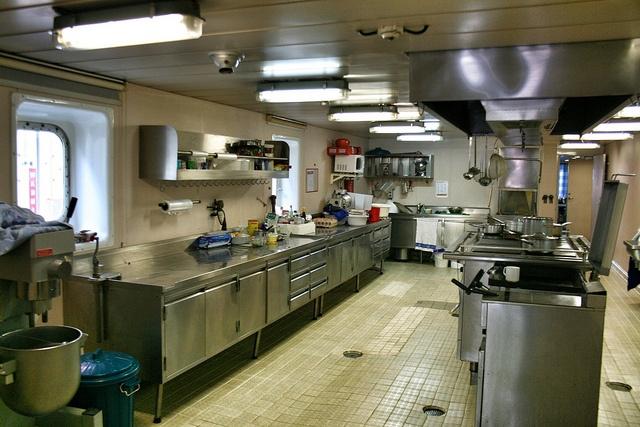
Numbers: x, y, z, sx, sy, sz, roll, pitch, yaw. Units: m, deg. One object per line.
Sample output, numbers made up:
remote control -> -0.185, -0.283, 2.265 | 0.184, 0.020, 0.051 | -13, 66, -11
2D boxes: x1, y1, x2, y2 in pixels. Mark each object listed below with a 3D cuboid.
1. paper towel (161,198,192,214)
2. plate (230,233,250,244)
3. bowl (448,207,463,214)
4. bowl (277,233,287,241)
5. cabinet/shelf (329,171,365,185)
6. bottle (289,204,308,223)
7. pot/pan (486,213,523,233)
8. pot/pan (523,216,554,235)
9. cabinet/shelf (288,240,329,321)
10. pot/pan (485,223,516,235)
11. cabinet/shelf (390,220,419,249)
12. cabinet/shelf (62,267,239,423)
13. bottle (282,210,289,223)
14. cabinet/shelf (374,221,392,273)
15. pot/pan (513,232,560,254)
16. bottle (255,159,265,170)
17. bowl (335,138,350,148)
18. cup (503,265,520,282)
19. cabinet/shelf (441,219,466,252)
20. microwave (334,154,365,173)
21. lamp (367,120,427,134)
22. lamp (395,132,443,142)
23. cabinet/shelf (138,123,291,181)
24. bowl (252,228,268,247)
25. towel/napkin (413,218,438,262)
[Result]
paper towel -> -1.567, -0.073, 5.244 | 0.358, 0.162, 0.268 | -3, 11, -20
plate -> -0.954, 0.295, 5.835 | 0.226, 0.107, 0.231 | 0, 10, -3
bowl -> 2.813, -0.074, 9.902 | 0.169, 0.092, 0.162 | -1, 5, 0
bowl -> -0.471, 0.285, 6.090 | 0.091, 0.071, 0.177 | 2, 10, 10
cabinet/shelf -> 0.548, -0.696, 9.219 | 0.501, 0.218, 0.846 | 4, 11, 17
bottle -> -0.340, -0.005, 6.875 | 0.295, 0.254, 0.281 | -1, 1, 7
pot/pan -> 2.463, 0.121, 6.368 | 0.412, 0.145, 0.234 | 0, 3, -8
pot/pan -> 2.453, 0.134, 5.370 | 0.264, 0.149, 0.260 | 0, 1, 15
cabinet/shelf -> -0.146, 0.787, 5.980 | 0.357, 0.919, 1.088 | 2, 4, 29
pot/pan -> 2.173, 0.179, 5.882 | 0.233, 0.083, 0.142 | 4, 3, 41
cabinet/shelf -> 1.698, 0.354, 9.789 | 0.560, 0.672, 0.718 | 0, 0, 6
cabinet/shelf -> -1.473, 0.878, 4.703 | 1.207, 1.219, 2.056 | 1, 2, 19
bottle -> -0.485, 0.045, 6.805 | 0.168, 0.148, 0.287 | 3, -9, -3
cabinet/shelf -> 1.118, 0.582, 8.600 | 0.306, 0.717, 0.928 | 2, 7, 23
pot/pan -> 2.189, 0.306, 4.814 | 0.323, 0.172, 0.329 | 4, 11, 19
bottle -> -0.771, -0.634, 6.173 | 0.174, 0.152, 0.119 | 1, 9, -13
bowl -> 0.417, -1.314, 8.872 | 0.228, 0.166, 0.149 | 4, -7, -9
cup -> 1.782, 0.568, 4.525 | 0.179, 0.141, 0.120 | 0, -2, 39
cabinet/shelf -> 2.522, 0.397, 9.107 | 0.396, 0.522, 0.135 | 4, 12, 19
microwave -> 0.546, -0.931, 9.008 | 0.366, 0.299, 0.501 | 1, 1, 18
lamp -> 1.124, -1.267, 7.043 | 0.712, 0.164, 1.403 | 2, 10, 7
lamp -> 1.968, -1.490, 9.433 | 0.781, 0.224, 2.327 | 2, 10, 11
cabinet/shelf -> -1.177, -0.667, 5.670 | 0.473, 0.732, 1.889 | 7, 12, 33
bowl -> -0.724, 0.296, 5.766 | 0.151, 0.118, 0.178 | -1, 3, -22
towel/napkin -> 2.068, 0.382, 9.293 | 0.261, 0.629, 0.528 | -7, 13, -33
